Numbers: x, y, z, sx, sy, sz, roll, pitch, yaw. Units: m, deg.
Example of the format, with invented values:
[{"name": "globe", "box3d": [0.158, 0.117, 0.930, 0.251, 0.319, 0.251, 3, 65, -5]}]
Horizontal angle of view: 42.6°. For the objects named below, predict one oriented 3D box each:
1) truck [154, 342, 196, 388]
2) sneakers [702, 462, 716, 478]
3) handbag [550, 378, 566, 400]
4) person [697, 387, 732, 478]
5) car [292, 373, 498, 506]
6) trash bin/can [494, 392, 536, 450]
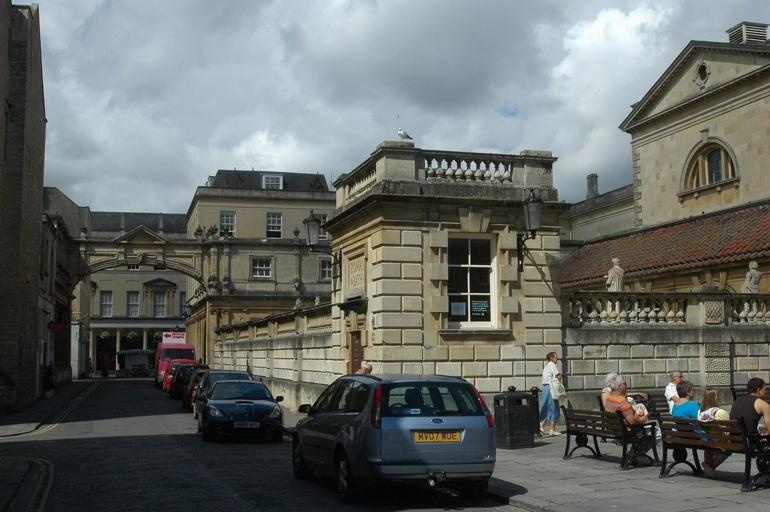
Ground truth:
[{"name": "truck", "box3d": [-13.830, 6.870, 65.733, 2.390, 2.374, 4.323, 1, -10, -15]}, {"name": "sneakers", "box3d": [8.371, 5.593, 25.708, 0.204, 0.466, 0.200, -10, -13, -38]}, {"name": "handbag", "box3d": [5.463, 4.251, 31.643, 0.333, 0.816, 0.853, -23, -10, 11]}, {"name": "person", "box3d": [8.523, 4.577, 25.731, 0.694, 2.235, 1.236, -3, -13, 18]}, {"name": "car", "box3d": [0.241, 4.525, 24.899, 4.930, 3.116, 2.074, -2, -12, 12]}, {"name": "trash bin/can", "box3d": [3.995, 4.986, 30.139, 1.409, 1.760, 0.841, 4, -13, -14]}]
